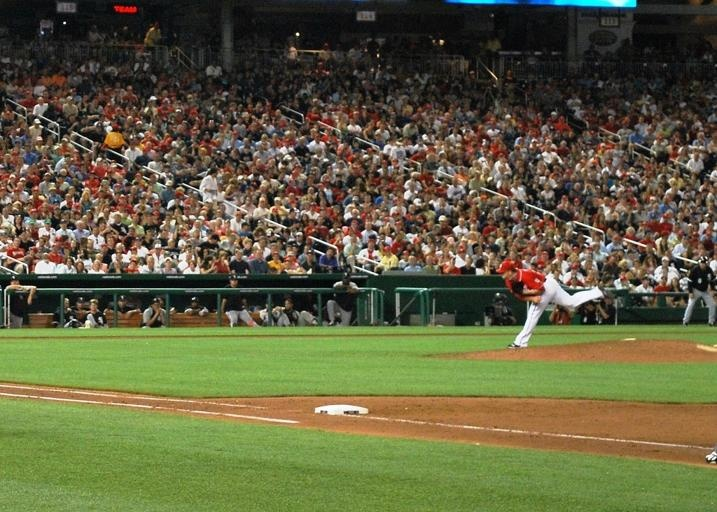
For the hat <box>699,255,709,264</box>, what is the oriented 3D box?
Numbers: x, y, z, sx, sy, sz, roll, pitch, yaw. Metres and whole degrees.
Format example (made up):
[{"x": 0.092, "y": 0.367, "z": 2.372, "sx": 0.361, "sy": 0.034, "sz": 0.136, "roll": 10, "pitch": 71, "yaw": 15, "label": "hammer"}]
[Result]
[{"x": 9.589, "y": 0.103, "z": 37.357, "sx": 0.269, "sy": 0.265, "sz": 0.207, "roll": -8, "pitch": -1, "yaw": -21, "label": "hat"}]

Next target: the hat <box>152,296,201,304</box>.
[{"x": -4.724, "y": 1.179, "z": 35.154, "sx": 1.182, "sy": 0.241, "sz": 0.150, "roll": 0, "pitch": 14, "yaw": -11, "label": "hat"}]

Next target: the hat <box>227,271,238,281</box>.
[{"x": -3.282, "y": 0.515, "z": 35.470, "sx": 0.203, "sy": 0.139, "sz": 0.427, "roll": 0, "pitch": 14, "yaw": -8, "label": "hat"}]

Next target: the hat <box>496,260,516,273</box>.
[{"x": 3.260, "y": 0.272, "z": 29.268, "sx": 0.413, "sy": 0.231, "sz": 0.288, "roll": -21, "pitch": 21, "yaw": -7, "label": "hat"}]

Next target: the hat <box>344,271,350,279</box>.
[{"x": -0.301, "y": 0.519, "z": 35.901, "sx": 0.122, "sy": 0.142, "sz": 0.141, "roll": -2, "pitch": -2, "yaw": 9, "label": "hat"}]

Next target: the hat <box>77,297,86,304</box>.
[{"x": -7.149, "y": 1.159, "z": 34.858, "sx": 0.138, "sy": 0.165, "sz": 0.181, "roll": 0, "pitch": 26, "yaw": -6, "label": "hat"}]

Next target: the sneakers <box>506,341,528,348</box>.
[{"x": 3.500, "y": 1.980, "z": 29.622, "sx": 0.451, "sy": 0.204, "sz": 0.167, "roll": 4, "pitch": 0, "yaw": 2, "label": "sneakers"}]
